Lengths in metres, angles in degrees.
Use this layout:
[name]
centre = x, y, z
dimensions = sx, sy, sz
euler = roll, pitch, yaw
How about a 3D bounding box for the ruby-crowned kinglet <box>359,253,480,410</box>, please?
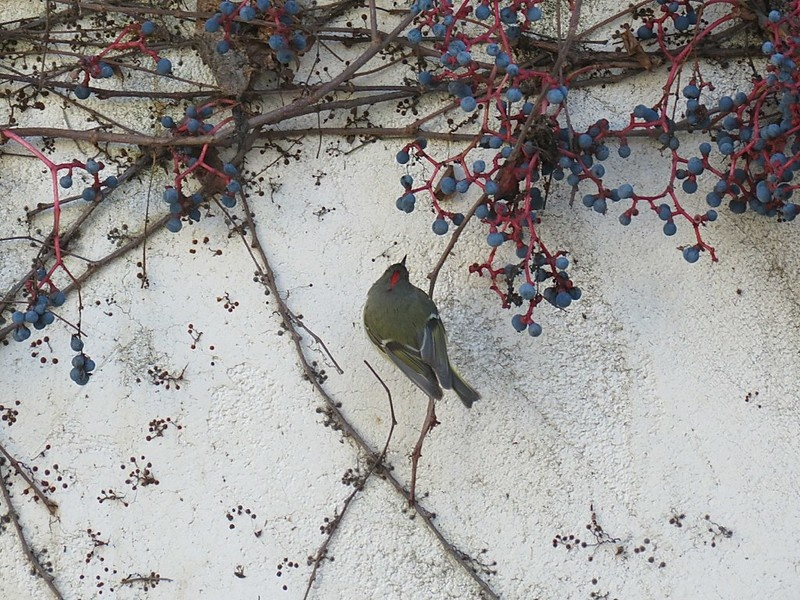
[ruby-crowned kinglet]
centre = 0.056, 0.114, 4.774
dimensions = 0.268, 0.326, 0.637
euler = -24, 74, 6
